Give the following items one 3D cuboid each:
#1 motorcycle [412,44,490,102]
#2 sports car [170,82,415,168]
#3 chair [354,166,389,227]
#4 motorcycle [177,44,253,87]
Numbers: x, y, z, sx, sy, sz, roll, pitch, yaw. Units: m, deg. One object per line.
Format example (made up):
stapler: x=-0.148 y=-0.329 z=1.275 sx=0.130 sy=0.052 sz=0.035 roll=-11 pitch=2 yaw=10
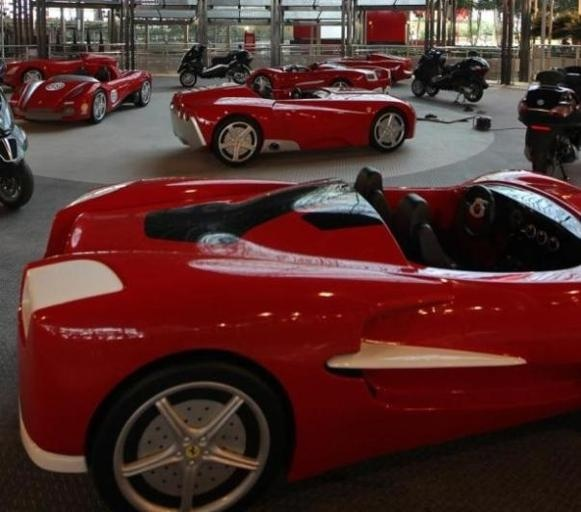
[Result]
motorcycle: x=5.155 y=-5.720 z=14.354 sx=0.594 sy=1.636 sz=2.558 roll=-12 pitch=21 yaw=-32
sports car: x=0.149 y=-2.228 z=7.386 sx=3.526 sy=0.890 sz=1.774 roll=-5 pitch=23 yaw=-10
chair: x=0.448 y=-0.351 z=2.554 sx=0.133 sy=0.235 sz=0.186 roll=16 pitch=22 yaw=43
motorcycle: x=-3.160 y=-7.882 z=18.896 sx=3.756 sy=1.821 sz=1.545 roll=-3 pitch=20 yaw=-2
